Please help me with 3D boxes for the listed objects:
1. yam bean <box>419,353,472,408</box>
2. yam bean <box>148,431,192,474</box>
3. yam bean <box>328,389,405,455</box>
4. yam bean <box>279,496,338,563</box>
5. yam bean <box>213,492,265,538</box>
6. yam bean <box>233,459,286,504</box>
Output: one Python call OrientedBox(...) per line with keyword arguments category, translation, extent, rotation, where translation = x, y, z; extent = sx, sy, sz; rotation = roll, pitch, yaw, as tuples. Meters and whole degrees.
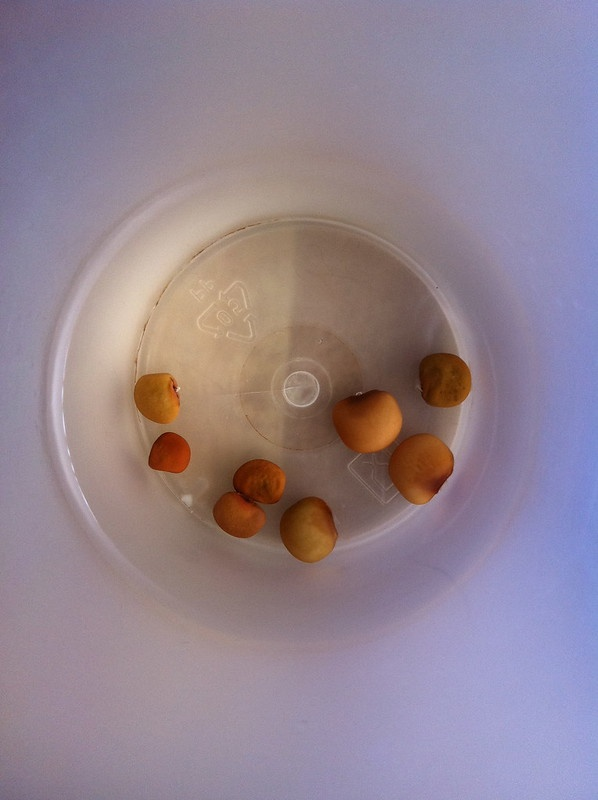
OrientedBox(category="yam bean", translation=(0.220, -0.030, 1.204), extent=(0.074, 0.056, 0.079), rotation=(-17, -72, 2))
OrientedBox(category="yam bean", translation=(-0.194, 0.079, 1.202), extent=(0.055, 0.040, 0.051), rotation=(19, -75, -9))
OrientedBox(category="yam bean", translation=(0.100, 0.033, 1.211), extent=(0.107, 0.101, 0.088), rotation=(-17, -63, -22))
OrientedBox(category="yam bean", translation=(0.027, 0.195, 1.217), extent=(0.096, 0.051, 0.087), rotation=(25, -85, 19))
OrientedBox(category="yam bean", translation=(-0.090, 0.174, 1.193), extent=(0.073, 0.038, 0.053), rotation=(35, -78, -13))
OrientedBox(category="yam bean", translation=(-0.062, 0.125, 1.195), extent=(0.077, 0.023, 0.065), rotation=(26, -104, 5))
